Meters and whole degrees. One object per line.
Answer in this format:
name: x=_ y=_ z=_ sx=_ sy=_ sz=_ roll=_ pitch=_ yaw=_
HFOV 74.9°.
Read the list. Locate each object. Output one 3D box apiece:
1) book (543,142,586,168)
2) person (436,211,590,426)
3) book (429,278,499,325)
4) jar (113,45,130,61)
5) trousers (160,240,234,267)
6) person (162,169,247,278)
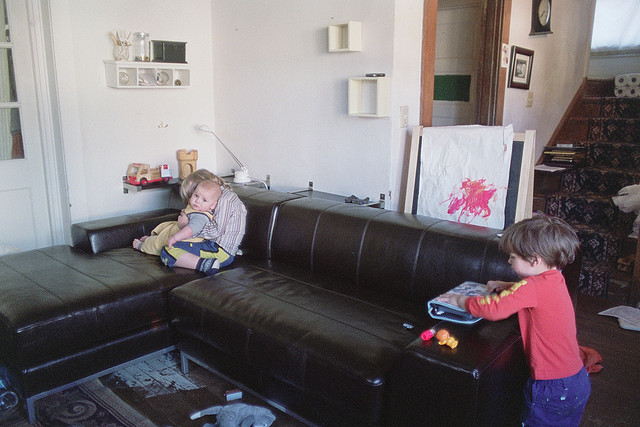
book: x=2.621 y=-0.640 z=4.508 sx=0.352 sy=0.215 sz=0.453 roll=15 pitch=22 yaw=41
person: x=0.923 y=0.483 z=1.865 sx=0.526 sy=0.927 sz=0.327 roll=-2 pitch=17 yaw=-6
book: x=0.704 y=0.421 z=2.074 sx=0.245 sy=0.077 sz=0.347 roll=9 pitch=19 yaw=29
jar: x=-1.681 y=-1.372 z=3.581 sx=0.135 sy=0.131 sz=0.132 roll=2 pitch=22 yaw=-1
trousers: x=-0.832 y=0.252 z=2.874 sx=0.285 sy=0.100 sz=0.241 roll=10 pitch=3 yaw=0
person: x=-0.845 y=0.049 z=3.066 sx=0.563 sy=0.639 sz=0.865 roll=7 pitch=11 yaw=-27
